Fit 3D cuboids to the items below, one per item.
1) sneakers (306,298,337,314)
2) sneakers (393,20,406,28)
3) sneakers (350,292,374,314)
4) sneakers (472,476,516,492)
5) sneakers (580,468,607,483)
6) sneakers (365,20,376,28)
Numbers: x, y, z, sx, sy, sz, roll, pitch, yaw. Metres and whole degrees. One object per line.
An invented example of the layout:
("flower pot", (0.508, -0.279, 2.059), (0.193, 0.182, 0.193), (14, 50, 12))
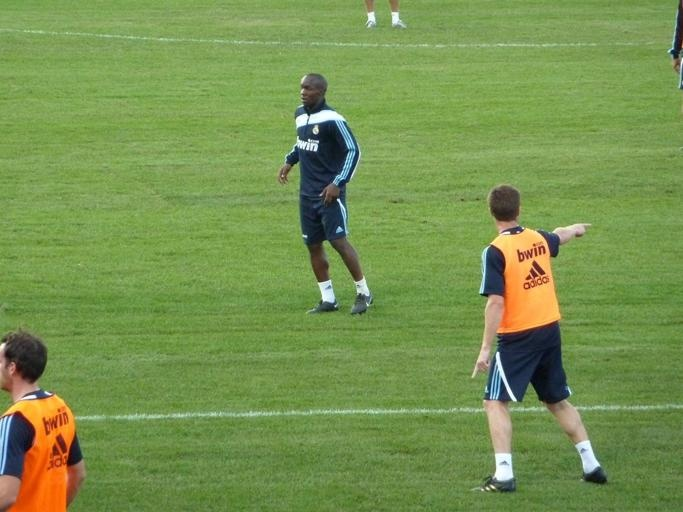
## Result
("sneakers", (-0.233, 0.666, 23.053), (0.427, 0.155, 0.133), (0, 3, -7))
("sneakers", (1.053, -4.000, 31.073), (0.295, 0.109, 0.094), (-7, 19, -33))
("sneakers", (0.301, 0.595, 23.075), (0.142, 0.165, 0.373), (9, 26, 22))
("sneakers", (1.818, 2.590, 20.427), (0.530, 0.182, 0.170), (1, 4, 13))
("sneakers", (2.941, 2.494, 20.408), (0.141, 0.127, 0.288), (-8, 7, -20))
("sneakers", (0.571, -4.034, 31.219), (0.114, 0.129, 0.153), (-4, -12, 41))
